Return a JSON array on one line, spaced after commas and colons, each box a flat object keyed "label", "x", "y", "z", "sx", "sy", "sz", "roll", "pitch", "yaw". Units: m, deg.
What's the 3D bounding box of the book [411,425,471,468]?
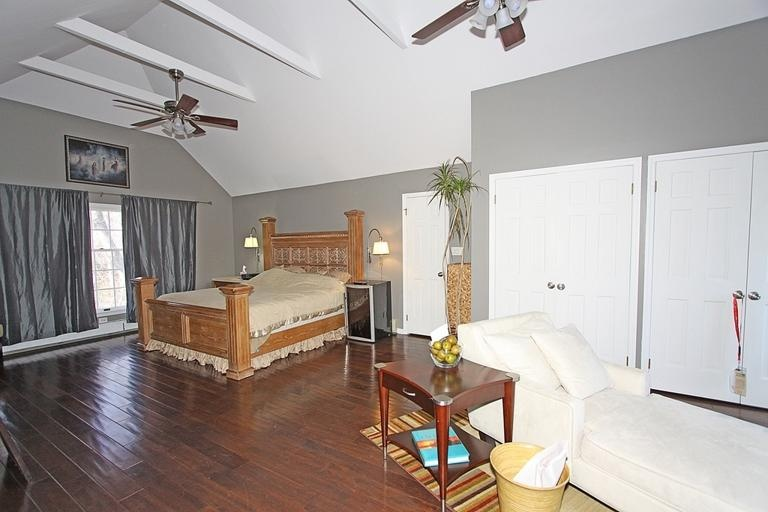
[{"label": "book", "x": 0.536, "y": 1.833, "z": 4.248, "sx": 0.424, "sy": 0.085, "sz": 0.427, "roll": 0, "pitch": 3, "yaw": -12}]

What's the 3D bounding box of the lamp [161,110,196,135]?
[{"label": "lamp", "x": -2.744, "y": -1.903, "z": 5.993, "sx": 0.420, "sy": 0.148, "sz": 0.424, "roll": 3, "pitch": -25, "yaw": -17}]

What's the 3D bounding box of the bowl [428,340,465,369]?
[{"label": "bowl", "x": 0.585, "y": 0.945, "z": 4.243, "sx": 0.258, "sy": 0.178, "sz": 0.267, "roll": 1, "pitch": -15, "yaw": 0}]

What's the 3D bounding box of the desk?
[{"label": "desk", "x": 0.551, "y": 1.610, "z": 4.460, "sx": 1.227, "sy": 1.225, "sz": 1.314, "roll": -3, "pitch": 5, "yaw": -34}]

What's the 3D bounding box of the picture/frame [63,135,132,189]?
[{"label": "picture/frame", "x": -4.951, "y": -1.618, "z": 7.584, "sx": 0.070, "sy": 0.856, "sz": 1.077, "roll": -2, "pitch": -2, "yaw": 34}]

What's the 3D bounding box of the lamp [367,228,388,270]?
[{"label": "lamp", "x": -0.091, "y": -0.126, "z": 7.636, "sx": 0.362, "sy": 0.731, "sz": 0.546, "roll": -3, "pitch": 4, "yaw": -6}]

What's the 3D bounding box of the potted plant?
[{"label": "potted plant", "x": 1.068, "y": -0.182, "z": 6.630, "sx": 0.631, "sy": 2.684, "sz": 1.330, "roll": -3, "pitch": 4, "yaw": 0}]

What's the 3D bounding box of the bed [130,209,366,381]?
[{"label": "bed", "x": -2.107, "y": 0.436, "z": 7.319, "sx": 2.191, "sy": 2.260, "sz": 2.783, "roll": 0, "pitch": 4, "yaw": 37}]
